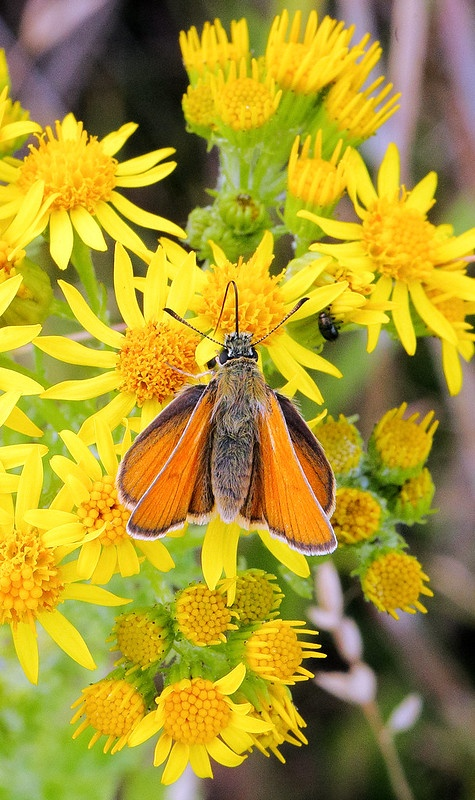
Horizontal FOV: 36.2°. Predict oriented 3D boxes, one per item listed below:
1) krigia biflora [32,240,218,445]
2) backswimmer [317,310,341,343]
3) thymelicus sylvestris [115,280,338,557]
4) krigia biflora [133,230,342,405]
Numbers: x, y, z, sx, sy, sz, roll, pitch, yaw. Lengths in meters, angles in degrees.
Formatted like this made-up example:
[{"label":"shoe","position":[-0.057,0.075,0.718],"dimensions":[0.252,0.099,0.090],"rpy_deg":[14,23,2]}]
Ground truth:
[{"label":"krigia biflora","position":[-0.298,-0.179,2.345],"dimensions":[0.574,0.189,0.582],"rpy_deg":[45,104,30]},{"label":"backswimmer","position":[0.293,-0.240,2.374],"dimensions":[0.066,0.088,0.025],"rpy_deg":[-17,11,24]},{"label":"thymelicus sylvestris","position":[-0.030,0.052,2.214],"dimensions":[0.623,0.248,0.803],"rpy_deg":[1,49,-2]},{"label":"krigia biflora","position":[0.070,-0.282,2.295],"dimensions":[0.535,0.191,0.552],"rpy_deg":[-11,91,-13]}]
